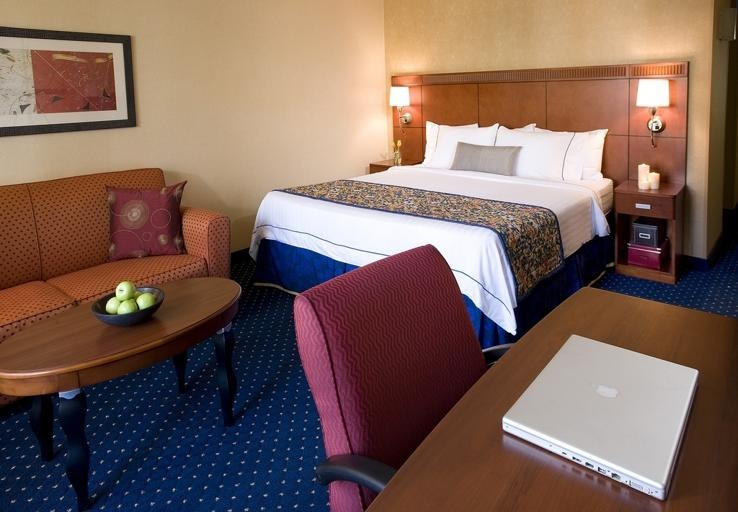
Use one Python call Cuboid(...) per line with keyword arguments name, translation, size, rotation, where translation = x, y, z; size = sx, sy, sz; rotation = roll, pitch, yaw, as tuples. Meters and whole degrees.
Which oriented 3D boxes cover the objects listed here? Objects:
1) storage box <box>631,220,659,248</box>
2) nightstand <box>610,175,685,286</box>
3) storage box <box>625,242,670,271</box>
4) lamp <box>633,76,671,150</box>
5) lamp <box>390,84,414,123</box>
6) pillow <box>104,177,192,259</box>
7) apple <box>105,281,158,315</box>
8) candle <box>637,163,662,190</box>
Cuboid(name="storage box", translation=(2.484, -0.192, 4.509), size=(0.220, 0.234, 0.227), rotation=(6, 15, 39))
Cuboid(name="nightstand", translation=(2.560, -0.229, 4.614), size=(0.620, 0.813, 0.453), rotation=(13, 24, 33))
Cuboid(name="storage box", translation=(2.598, -0.051, 4.656), size=(0.273, 0.189, 0.282), rotation=(8, 16, 37))
Cuboid(name="lamp", translation=(2.542, -1.293, 4.522), size=(0.259, 0.597, 0.268), rotation=(11, 23, 30))
Cuboid(name="lamp", translation=(0.364, -1.899, 6.288), size=(0.300, 0.454, 0.264), rotation=(17, 26, 40))
Cuboid(name="pillow", translation=(-1.851, -0.287, 4.142), size=(0.572, 0.621, 0.205), rotation=(-6, -3, -14))
Cuboid(name="apple", translation=(-1.305, 0.241, 2.737), size=(0.185, 0.121, 0.219), rotation=(-2, 8, -8))
Cuboid(name="candle", translation=(2.490, -0.720, 4.490), size=(0.185, 0.291, 0.247), rotation=(-12, 11, -41))
